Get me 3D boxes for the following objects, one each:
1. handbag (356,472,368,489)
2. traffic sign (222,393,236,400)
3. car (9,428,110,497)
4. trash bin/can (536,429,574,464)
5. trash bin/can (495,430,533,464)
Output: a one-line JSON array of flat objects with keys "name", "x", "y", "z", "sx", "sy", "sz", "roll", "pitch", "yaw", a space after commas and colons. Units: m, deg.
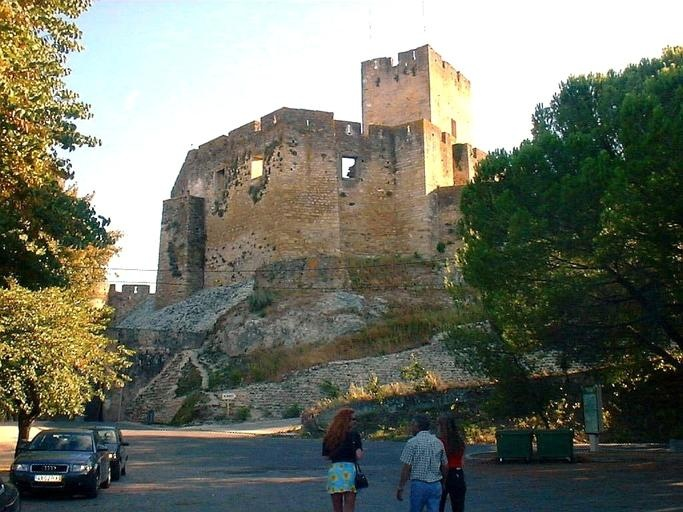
[{"name": "handbag", "x": 0.350, "y": 4.043, "z": 16.801, "sx": 0.205, "sy": 0.282, "sz": 0.307, "roll": -2, "pitch": -15, "yaw": 4}, {"name": "traffic sign", "x": -4.603, "y": 5.632, "z": 37.322, "sx": 0.448, "sy": 0.114, "sz": 0.448, "roll": -1, "pitch": -3, "yaw": 3}, {"name": "car", "x": -6.100, "y": 4.486, "z": 20.149, "sx": 1.992, "sy": 1.457, "sz": 1.143, "roll": 3, "pitch": -15, "yaw": -13}, {"name": "trash bin/can", "x": 5.417, "y": 4.773, "z": 23.375, "sx": 1.035, "sy": 0.695, "sz": 0.698, "roll": -2, "pitch": -10, "yaw": 8}, {"name": "trash bin/can", "x": 4.349, "y": 4.787, "z": 23.538, "sx": 0.905, "sy": 0.622, "sz": 0.895, "roll": -4, "pitch": -6, "yaw": 25}]
